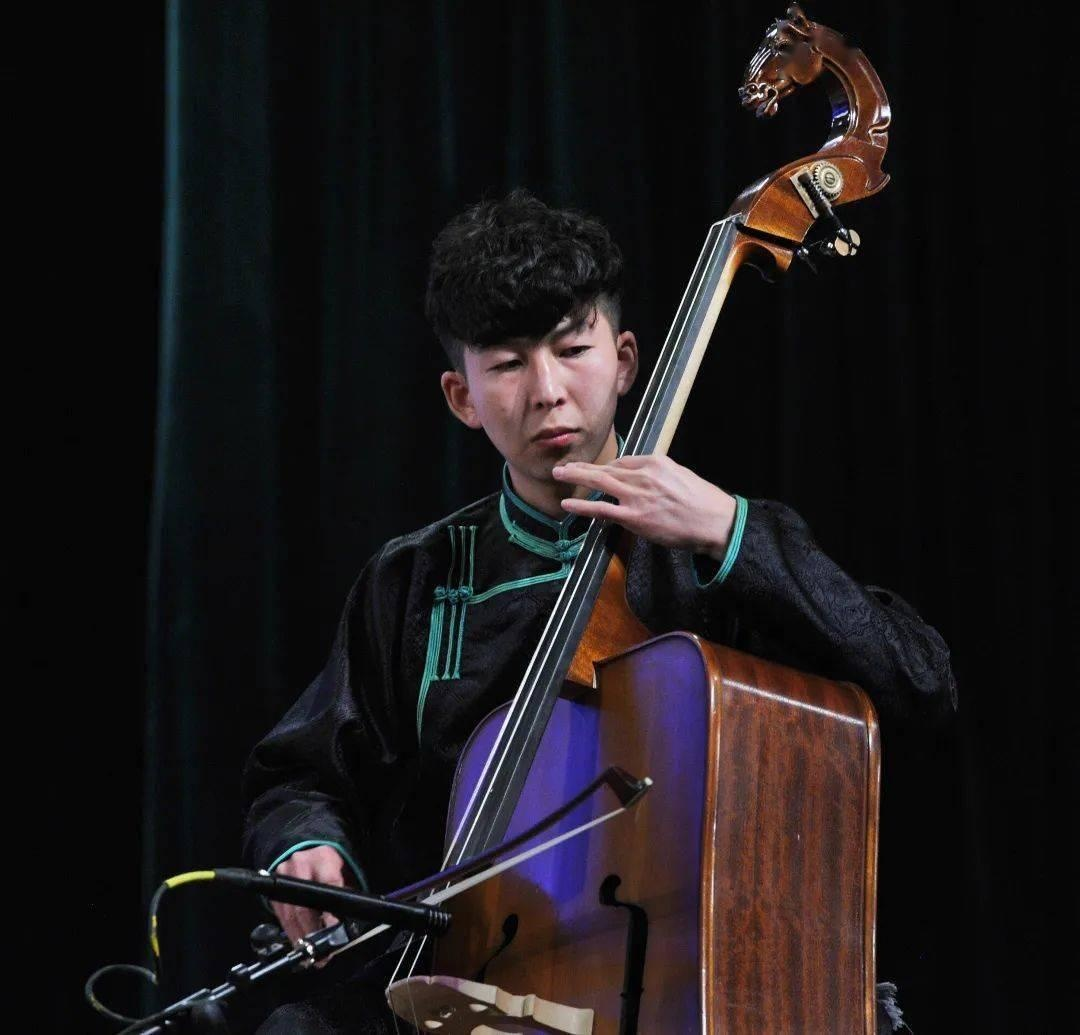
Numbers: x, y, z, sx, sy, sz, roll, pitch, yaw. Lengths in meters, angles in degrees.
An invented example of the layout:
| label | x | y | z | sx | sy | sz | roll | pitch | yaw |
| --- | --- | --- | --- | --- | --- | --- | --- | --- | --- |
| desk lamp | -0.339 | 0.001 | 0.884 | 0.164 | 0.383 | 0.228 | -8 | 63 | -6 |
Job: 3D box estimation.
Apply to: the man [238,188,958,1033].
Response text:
| label | x | y | z | sx | sy | sz | roll | pitch | yaw |
| --- | --- | --- | --- | --- | --- | --- | --- | --- | --- |
| man | 0.113 | 0.284 | 2.950 | 0.830 | 1.263 | 0.450 | -6 | -16 | 25 |
